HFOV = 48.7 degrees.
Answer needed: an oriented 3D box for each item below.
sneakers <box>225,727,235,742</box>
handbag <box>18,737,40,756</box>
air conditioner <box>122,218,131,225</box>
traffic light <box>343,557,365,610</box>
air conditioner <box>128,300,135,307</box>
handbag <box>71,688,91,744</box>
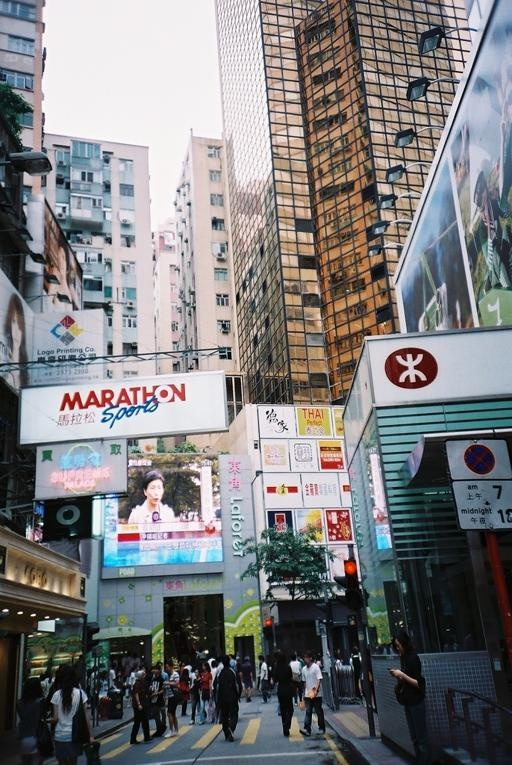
[{"bbox_3d":[-0.533,7.285,11.669,0.099,0.331,0.124,-11,-21,7],"label":"sneakers"},{"bbox_3d":[-2.228,3.593,5.604,0.197,0.171,0.055,-15,-21,20],"label":"handbag"},{"bbox_3d":[-14.213,-17.556,61.573,0.545,0.630,1.077,5,2,-5],"label":"air conditioner"},{"bbox_3d":[1.749,3.691,10.335,0.283,0.940,1.334,-9,-20,6],"label":"traffic light"},{"bbox_3d":[-13.246,-8.333,60.040,0.652,0.763,0.673,1,-4,8],"label":"air conditioner"},{"bbox_3d":[-1.538,2.877,4.867,0.083,0.390,0.152,4,-7,-7],"label":"handbag"}]
